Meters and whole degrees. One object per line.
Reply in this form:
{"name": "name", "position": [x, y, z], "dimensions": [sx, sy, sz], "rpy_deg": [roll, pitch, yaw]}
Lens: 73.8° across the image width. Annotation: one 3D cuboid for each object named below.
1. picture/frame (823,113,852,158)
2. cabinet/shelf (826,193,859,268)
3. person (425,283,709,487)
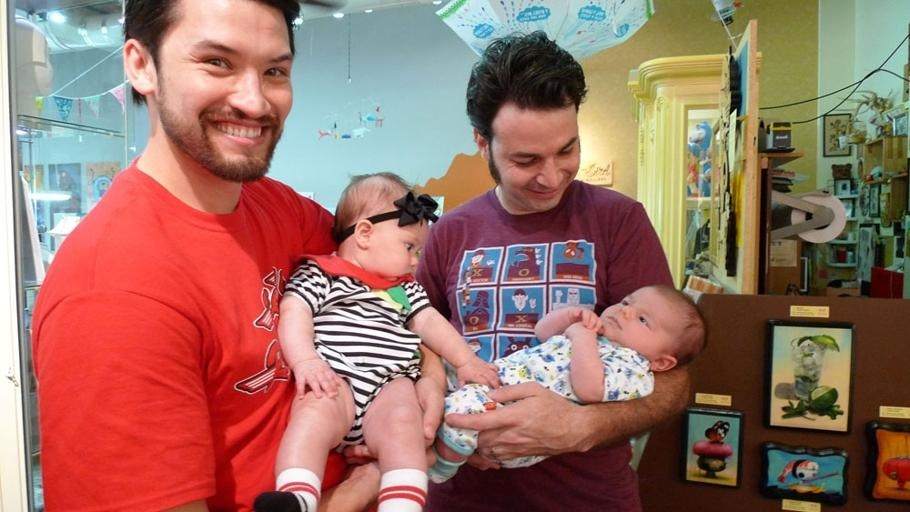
{"name": "picture/frame", "position": [4.549, -1.431, 7.182], "dimensions": [0.121, 0.534, 0.388], "rpy_deg": [0, -2, -24]}
{"name": "cabinet/shelf", "position": [4.624, -0.282, 7.102], "dimensions": [0.281, 0.820, 0.346], "rpy_deg": [-9, 3, 14]}
{"name": "person", "position": [0.690, 0.713, 3.191], "dimensions": [1.494, 0.788, 0.498], "rpy_deg": [-22, -50, 6]}
